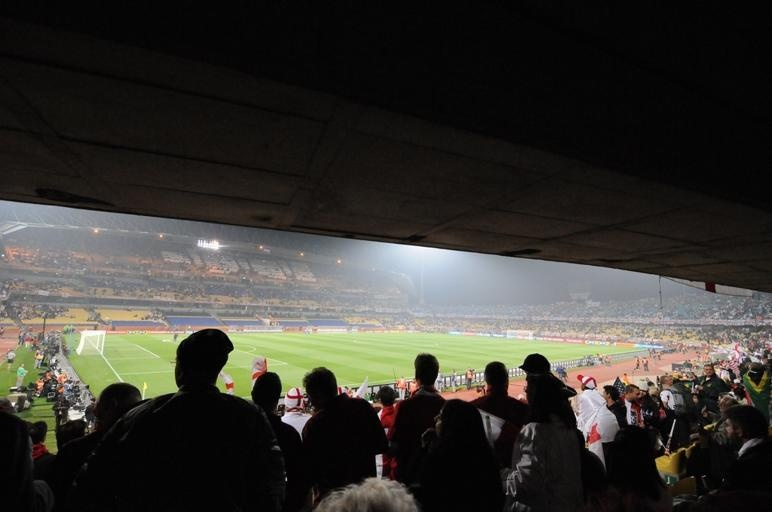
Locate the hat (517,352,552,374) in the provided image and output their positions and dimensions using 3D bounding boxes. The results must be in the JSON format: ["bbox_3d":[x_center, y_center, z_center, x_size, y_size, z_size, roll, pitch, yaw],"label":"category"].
[{"bbox_3d":[1.592,1.154,4.706,0.333,0.216,0.402,6,-5,-14],"label":"hat"}]

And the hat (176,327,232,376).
[{"bbox_3d":[-1.237,0.649,3.072,0.342,0.304,0.275,9,-19,-19],"label":"hat"}]
